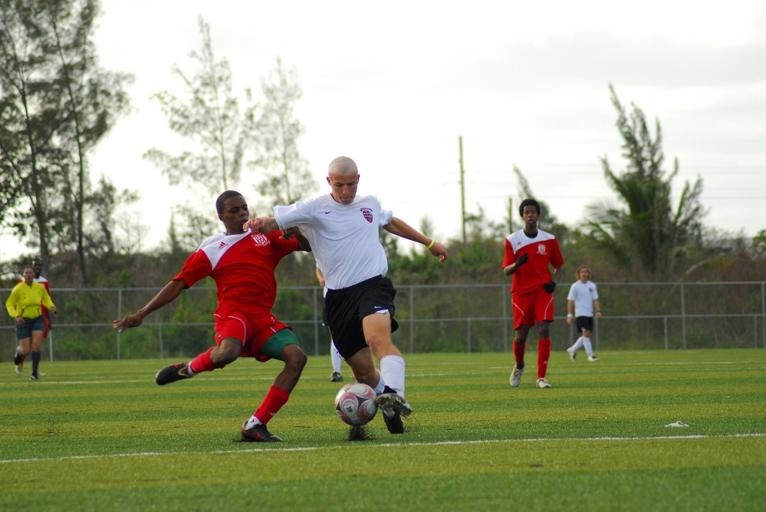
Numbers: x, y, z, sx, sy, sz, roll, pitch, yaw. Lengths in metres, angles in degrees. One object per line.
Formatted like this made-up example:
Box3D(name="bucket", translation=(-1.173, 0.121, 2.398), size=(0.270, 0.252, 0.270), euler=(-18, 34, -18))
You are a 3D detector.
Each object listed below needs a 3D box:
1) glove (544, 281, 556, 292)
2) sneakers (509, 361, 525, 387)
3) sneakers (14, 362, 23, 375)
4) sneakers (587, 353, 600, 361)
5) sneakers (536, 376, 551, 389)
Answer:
Box3D(name="glove", translation=(4.203, 0.764, 36.020), size=(0.223, 0.286, 0.297), euler=(-2, -5, 22))
Box3D(name="sneakers", translation=(3.357, 2.997, 36.457), size=(0.251, 0.653, 0.263), euler=(19, 10, 22))
Box3D(name="sneakers", translation=(-10.501, 3.235, 41.495), size=(0.209, 0.251, 0.598), euler=(1, -2, -8))
Box3D(name="sneakers", translation=(6.511, 3.117, 44.550), size=(0.262, 0.193, 0.497), euler=(0, -6, -7))
Box3D(name="sneakers", translation=(4.047, 3.187, 36.239), size=(0.167, 0.289, 0.417), euler=(34, 4, 3))
